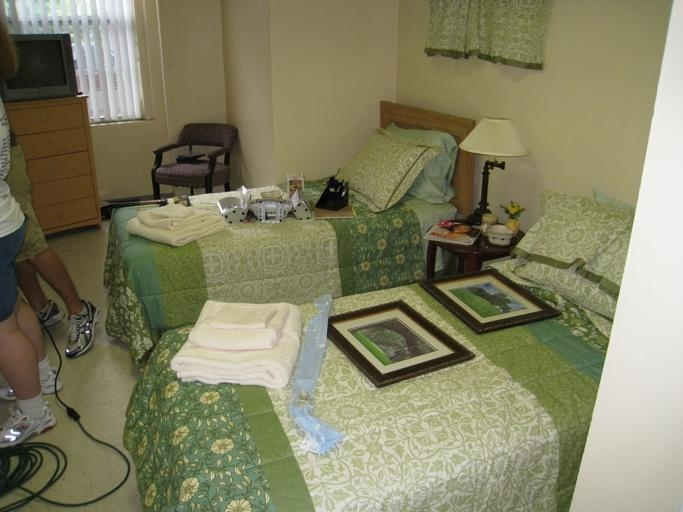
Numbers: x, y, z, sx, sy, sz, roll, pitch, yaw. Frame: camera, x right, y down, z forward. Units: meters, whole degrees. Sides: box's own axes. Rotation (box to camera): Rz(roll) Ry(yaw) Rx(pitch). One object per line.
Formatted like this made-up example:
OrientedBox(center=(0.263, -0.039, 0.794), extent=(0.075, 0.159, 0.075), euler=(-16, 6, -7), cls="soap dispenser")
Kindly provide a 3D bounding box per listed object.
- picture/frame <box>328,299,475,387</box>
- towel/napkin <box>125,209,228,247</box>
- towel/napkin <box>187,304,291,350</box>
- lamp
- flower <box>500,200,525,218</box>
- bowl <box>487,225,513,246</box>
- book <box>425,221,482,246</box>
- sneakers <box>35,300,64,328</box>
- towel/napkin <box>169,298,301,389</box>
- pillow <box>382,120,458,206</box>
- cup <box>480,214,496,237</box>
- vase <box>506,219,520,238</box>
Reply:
OrientedBox(center=(0.214, 0.380, 2.242), extent=(0.542, 0.049, 0.481), euler=(-10, 33, -39), cls="picture/frame")
OrientedBox(center=(-0.997, -0.189, 3.133), extent=(0.354, 0.109, 0.359), euler=(-13, 21, -40), cls="towel/napkin")
OrientedBox(center=(-0.415, 0.299, 2.083), extent=(0.224, 0.053, 0.220), euler=(3, 24, 5), cls="towel/napkin")
OrientedBox(center=(1.027, -0.547, 3.313), extent=(0.412, 0.705, 0.530), euler=(17, 29, 37), cls="lamp")
OrientedBox(center=(1.096, -0.295, 3.287), extent=(0.141, 0.085, 0.137), euler=(-1, 9, -44), cls="flower")
OrientedBox(center=(0.988, -0.127, 3.161), extent=(0.156, 0.108, 0.111), euler=(4, 23, 11), cls="bowl")
OrientedBox(center=(0.727, -0.143, 3.305), extent=(0.211, 0.028, 0.197), euler=(9, 27, 25), cls="book")
OrientedBox(center=(-1.972, 0.394, 3.517), extent=(0.099, 0.141, 0.289), euler=(-10, 15, -4), cls="sneakers")
OrientedBox(center=(-0.412, 0.349, 2.005), extent=(0.371, 0.122, 0.338), euler=(5, 36, 2), cls="towel/napkin")
OrientedBox(center=(0.621, -0.687, 3.664), extent=(0.479, 0.545, 0.170), euler=(9, -3, 37), cls="pillow")
OrientedBox(center=(0.948, -0.206, 3.294), extent=(0.092, 0.103, 0.149), euler=(15, 37, 28), cls="cup")
OrientedBox(center=(1.077, -0.171, 3.180), extent=(0.114, 0.079, 0.099), euler=(5, 18, 15), cls="vase")
